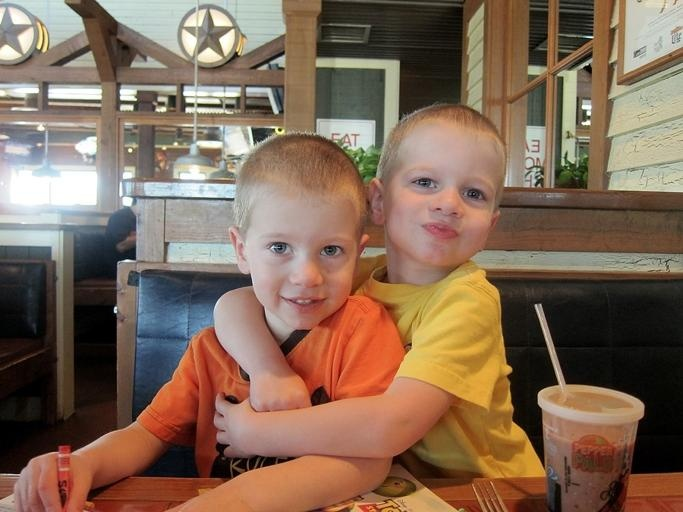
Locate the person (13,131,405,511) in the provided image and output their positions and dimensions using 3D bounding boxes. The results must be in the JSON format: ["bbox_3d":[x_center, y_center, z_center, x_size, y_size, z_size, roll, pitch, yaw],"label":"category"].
[{"bbox_3d":[-0.103,0.179,2.132,0.951,1.174,1.107,4,-3,36],"label":"person"}]
